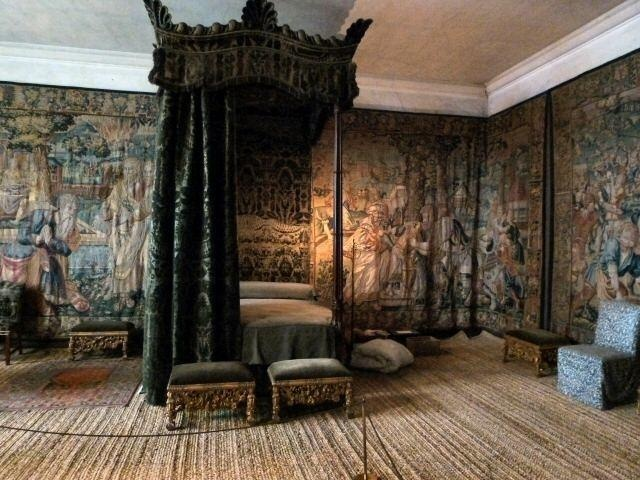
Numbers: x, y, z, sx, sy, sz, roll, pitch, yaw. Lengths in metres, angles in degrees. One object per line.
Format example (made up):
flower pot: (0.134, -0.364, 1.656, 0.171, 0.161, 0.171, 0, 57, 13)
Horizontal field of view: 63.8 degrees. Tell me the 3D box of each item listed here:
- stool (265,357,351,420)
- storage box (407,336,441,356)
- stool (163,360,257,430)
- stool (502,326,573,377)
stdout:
stool: (-0.101, 1.937, 6.887, 1.037, 0.606, 0.776, 0, -4, -13)
storage box: (2.019, 2.050, 9.980, 0.481, 0.274, 0.332, 0, -2, -7)
stool: (-1.454, 1.890, 6.877, 0.816, 0.572, 1.097, 1, -2, -10)
stool: (3.779, 1.813, 8.917, 0.746, 0.565, 0.919, -1, 2, -20)
